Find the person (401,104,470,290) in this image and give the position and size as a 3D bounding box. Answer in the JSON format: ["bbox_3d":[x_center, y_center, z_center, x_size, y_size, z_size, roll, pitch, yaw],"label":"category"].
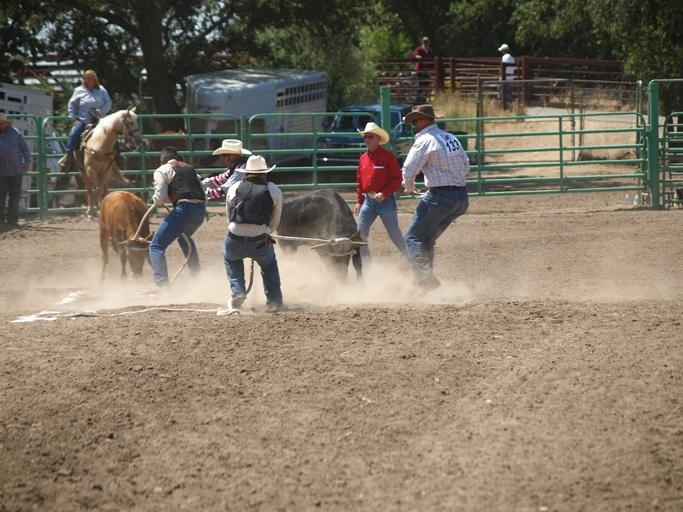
[{"bbox_3d":[1.079,-0.696,9.565,0.760,2.063,0.635,0,11,7],"label":"person"}]

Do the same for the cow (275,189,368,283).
[{"bbox_3d":[-0.251,-0.222,9.990,1.022,1.054,1.174,-3,12,-5],"label":"cow"}]

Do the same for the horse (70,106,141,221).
[{"bbox_3d":[-4.211,-1.513,14.391,0.709,1.750,2.586,3,-6,-38],"label":"horse"}]

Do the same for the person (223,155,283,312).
[{"bbox_3d":[-0.943,-0.240,8.909,0.645,1.687,0.536,-4,11,-11],"label":"person"}]

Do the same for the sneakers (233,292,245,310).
[{"bbox_3d":[-1.104,0.489,8.836,0.145,0.150,0.122,0,5,-20],"label":"sneakers"}]

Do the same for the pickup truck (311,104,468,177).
[{"bbox_3d":[0.659,-2.756,18.401,3.504,1.598,1.839,5,7,37],"label":"pickup truck"}]

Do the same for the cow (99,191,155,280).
[{"bbox_3d":[-2.875,-0.259,11.033,0.538,1.145,1.949,-4,8,-25],"label":"cow"}]
